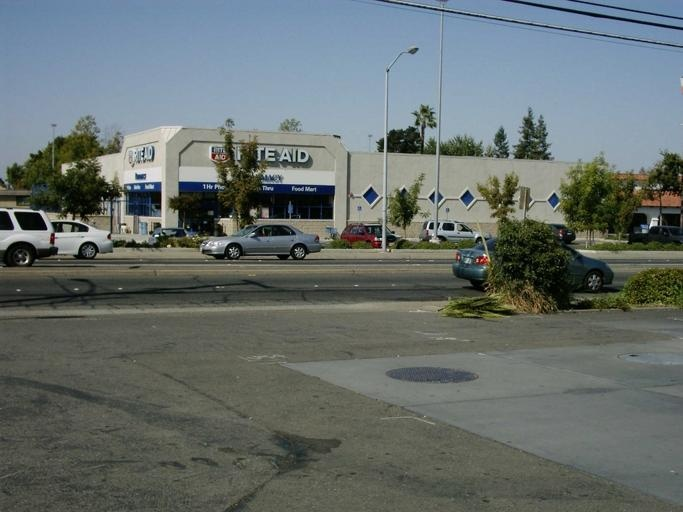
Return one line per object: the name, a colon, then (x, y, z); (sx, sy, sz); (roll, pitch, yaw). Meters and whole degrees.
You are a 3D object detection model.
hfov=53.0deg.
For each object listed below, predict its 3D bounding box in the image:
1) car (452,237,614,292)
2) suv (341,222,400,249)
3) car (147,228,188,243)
car: (5.476, 0.376, 19.629); (4.557, 1.599, 3.951); (1, 4, 10)
suv: (1.663, -1.334, 44.341); (1.792, 1.381, 3.025); (-2, 0, -41)
car: (-11.015, -1.300, 43.868); (2.131, 1.043, 1.237); (-5, 8, -9)
